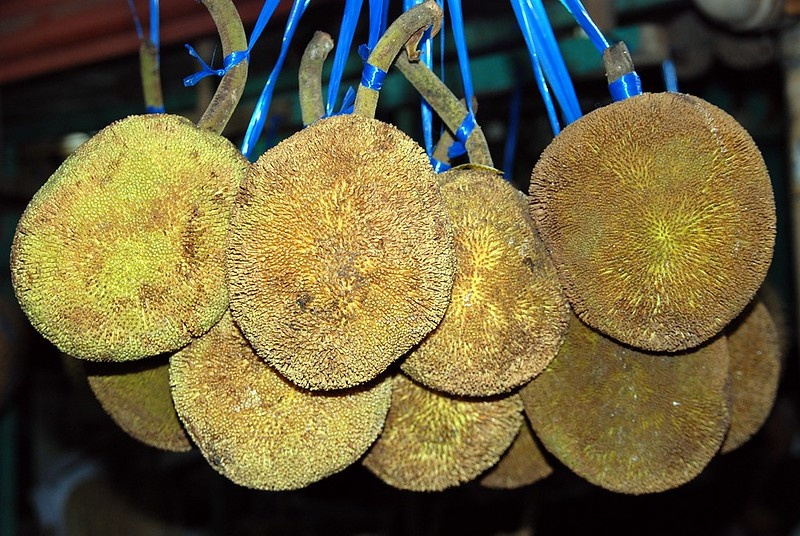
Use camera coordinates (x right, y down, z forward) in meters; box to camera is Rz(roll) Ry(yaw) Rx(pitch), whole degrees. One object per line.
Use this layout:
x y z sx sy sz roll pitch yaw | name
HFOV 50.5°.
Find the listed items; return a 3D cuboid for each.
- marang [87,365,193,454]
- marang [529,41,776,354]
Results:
-0.428 0.232 1.431 0.166 0.048 0.138 40 39 5 | marang
0.403 -0.073 1.334 0.358 0.087 0.395 -22 81 -2 | marang
